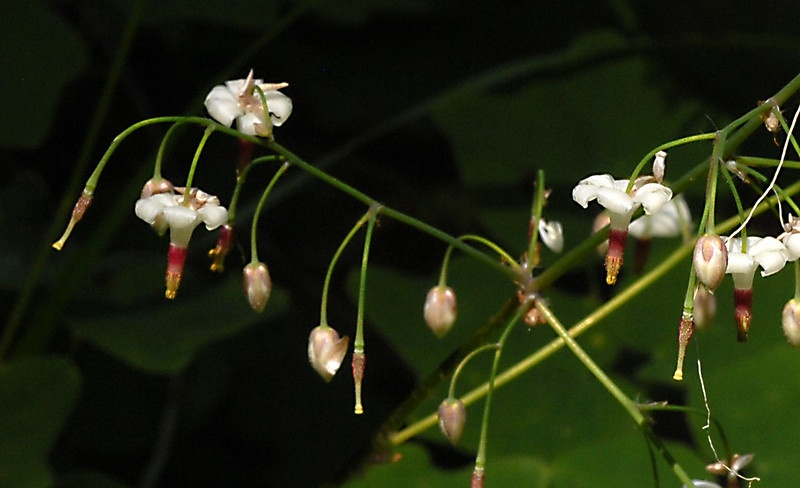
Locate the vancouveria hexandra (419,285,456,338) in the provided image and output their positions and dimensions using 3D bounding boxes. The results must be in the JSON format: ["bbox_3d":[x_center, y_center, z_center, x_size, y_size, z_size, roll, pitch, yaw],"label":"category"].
[{"bbox_3d":[0.104,0.203,2.149,0.081,0.126,0.158,0,-28,-6],"label":"vancouveria hexandra"}]

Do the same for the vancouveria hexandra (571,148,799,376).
[{"bbox_3d":[0.853,0.052,2.050,0.471,0.602,0.662,-23,-33,34],"label":"vancouveria hexandra"}]

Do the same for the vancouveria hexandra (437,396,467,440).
[{"bbox_3d":[0.135,0.469,2.020,0.068,0.111,0.081,-3,-6,7],"label":"vancouveria hexandra"}]

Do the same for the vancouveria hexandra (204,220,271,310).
[{"bbox_3d":[-0.438,0.093,2.191,0.100,0.367,0.108,-21,-1,4],"label":"vancouveria hexandra"}]

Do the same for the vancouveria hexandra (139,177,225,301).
[{"bbox_3d":[-0.588,-0.043,2.045,0.191,0.297,0.157,-17,-30,25],"label":"vancouveria hexandra"}]
